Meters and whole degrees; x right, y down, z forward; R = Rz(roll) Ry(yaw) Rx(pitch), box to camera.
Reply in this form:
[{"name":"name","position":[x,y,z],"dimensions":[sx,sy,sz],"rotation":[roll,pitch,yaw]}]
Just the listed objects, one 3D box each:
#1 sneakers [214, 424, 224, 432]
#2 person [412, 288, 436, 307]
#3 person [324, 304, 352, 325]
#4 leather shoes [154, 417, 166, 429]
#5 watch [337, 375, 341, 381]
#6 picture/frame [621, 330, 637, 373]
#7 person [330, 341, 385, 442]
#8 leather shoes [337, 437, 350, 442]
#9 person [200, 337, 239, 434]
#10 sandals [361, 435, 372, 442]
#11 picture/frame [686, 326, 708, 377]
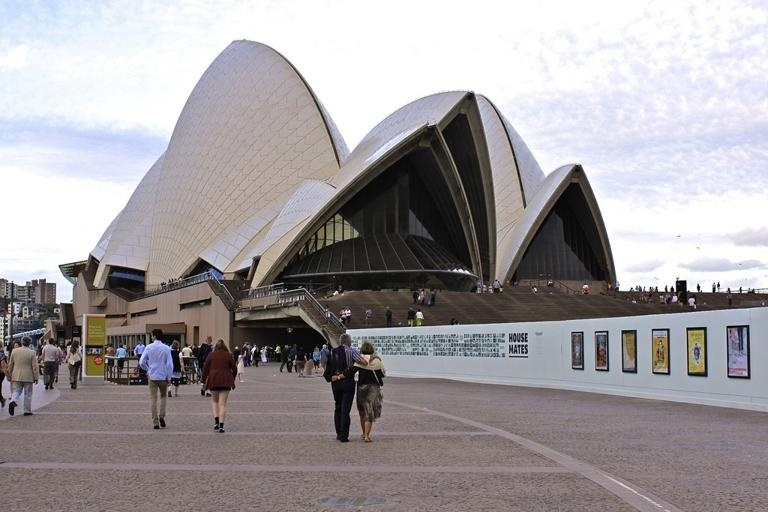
[{"name":"sneakers","position":[-2.841,2.970,11.451],"dimensions":[0.089,0.107,0.247],"rotation":[3,0,-4]},{"name":"person","position":[2.343,2.396,37.320],"dimensions":[1.135,0.893,1.561],"rotation":[-2,-8,15]},{"name":"person","position":[-2.197,2.943,33.093],"dimensions":[1.160,0.477,0.839],"rotation":[5,1,36]},{"name":"leather shoes","position":[-3.998,2.976,11.845],"dimensions":[0.206,0.198,0.113],"rotation":[4,-8,-28]},{"name":"watch","position":[-0.746,2.016,10.961],"dimensions":[0.071,0.072,0.024],"rotation":[-4,-11,-10]},{"name":"picture/frame","position":[6.503,2.536,17.624],"dimensions":[0.072,1.111,0.588],"rotation":[3,-8,-21]},{"name":"person","position":[-0.494,2.149,10.982],"dimensions":[0.959,1.678,0.917],"rotation":[0,-7,0]},{"name":"leather shoes","position":[-0.628,2.886,10.482],"dimensions":[0.196,0.090,0.242],"rotation":[2,-8,-13]},{"name":"person","position":[-3.006,2.329,12.139],"dimensions":[0.590,1.640,0.554],"rotation":[0,-12,-8]},{"name":"sandals","position":[-0.280,2.919,10.643],"dimensions":[0.074,0.100,0.240],"rotation":[3,0,19]},{"name":"picture/frame","position":[7.369,2.256,15.656],"dimensions":[0.137,1.130,0.647],"rotation":[2,-8,-16]}]
